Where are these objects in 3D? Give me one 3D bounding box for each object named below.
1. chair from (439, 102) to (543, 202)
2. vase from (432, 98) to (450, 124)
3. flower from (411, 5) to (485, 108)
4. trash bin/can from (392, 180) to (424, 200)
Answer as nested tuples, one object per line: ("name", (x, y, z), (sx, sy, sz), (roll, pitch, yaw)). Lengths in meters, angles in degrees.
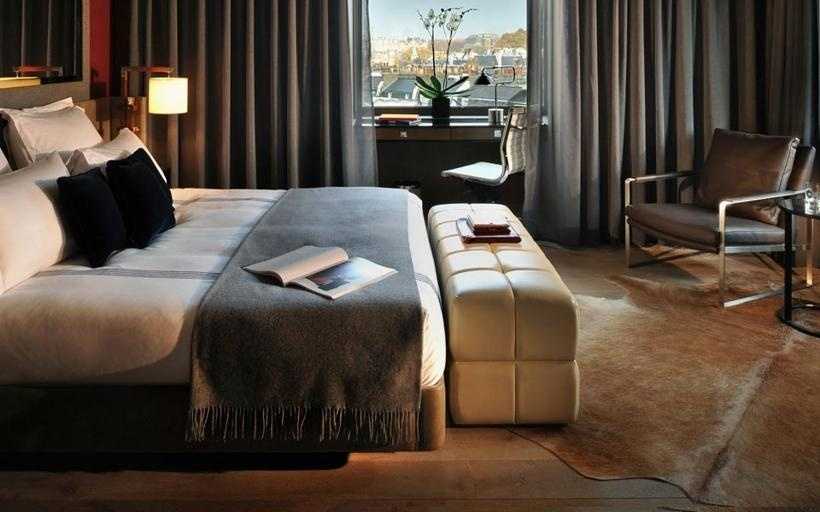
("chair", (0.764, -0.973, 5.612), (0.901, 1.073, 0.777), (11, 18, 26))
("vase", (0.292, -1.363, 5.806), (0.231, 0.321, 0.227), (0, 2, 0))
("flower", (0.339, -1.898, 5.918), (0.603, 0.993, 0.576), (0, 17, 5))
("trash bin/can", (-0.017, -0.664, 5.812), (0.260, 0.280, 0.269), (-1, 7, -3))
